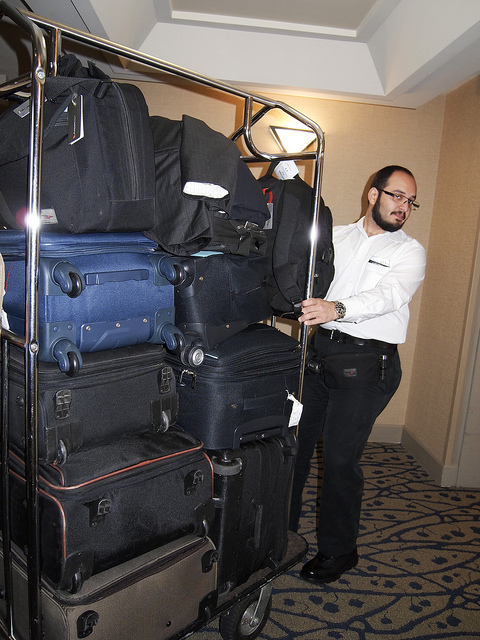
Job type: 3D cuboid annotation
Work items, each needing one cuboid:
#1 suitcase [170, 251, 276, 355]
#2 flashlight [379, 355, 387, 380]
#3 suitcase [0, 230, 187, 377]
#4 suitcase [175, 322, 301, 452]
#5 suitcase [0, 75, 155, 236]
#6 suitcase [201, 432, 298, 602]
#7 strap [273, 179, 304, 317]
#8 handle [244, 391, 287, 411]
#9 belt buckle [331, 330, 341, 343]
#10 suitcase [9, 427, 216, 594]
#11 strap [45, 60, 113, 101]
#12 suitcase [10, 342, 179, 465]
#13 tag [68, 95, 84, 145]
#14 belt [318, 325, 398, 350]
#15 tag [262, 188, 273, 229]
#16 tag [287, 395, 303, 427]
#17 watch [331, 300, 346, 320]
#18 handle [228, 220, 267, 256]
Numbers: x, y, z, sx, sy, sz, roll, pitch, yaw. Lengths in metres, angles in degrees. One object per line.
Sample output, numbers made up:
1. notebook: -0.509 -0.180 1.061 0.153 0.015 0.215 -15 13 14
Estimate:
1. suitcase: -0.027 -0.075 1.749 0.378 0.275 0.254 -10 14 -37
2. flashlight: 0.655 0.214 2.358 0.034 0.106 0.053 5 6 11
3. suitcase: -0.398 -0.066 1.430 0.307 0.478 0.357 6 3 38
4. suitcase: -0.026 0.225 1.889 0.482 0.343 0.352 -1 10 -44
5. suitcase: -0.409 -0.401 1.442 0.420 0.424 0.437 6 1 -39
6. suitcase: -0.036 0.652 1.856 0.379 0.499 0.357 -2 7 -45
7. strap: 0.192 -0.286 1.964 0.126 0.520 0.222 4 6 3
8. handle: 0.081 0.276 1.776 0.093 0.022 0.092 -2 0 -27
9. belt buckle: 0.451 0.073 2.408 0.016 0.058 0.056 3 1 -39
10. suitcase: -0.392 0.414 1.426 0.338 0.298 0.443 2 5 44
11. strap: -0.408 -0.576 1.270 0.165 0.072 0.200 -2 17 7
12. suitcase: -0.427 0.125 1.437 0.314 0.254 0.417 6 10 43
13. tag: -0.376 -0.461 1.182 0.031 0.105 0.043 2 7 -20
14. belt: 0.548 0.087 2.425 0.364 0.078 0.111 5 7 10
15. tag: 0.109 -0.433 1.980 0.039 0.164 0.117 4 6 0
16. tag: 0.203 0.336 1.939 0.073 0.113 0.028 -1 10 -24
17. watch: 0.395 -0.042 2.065 0.024 0.067 0.051 -24 38 -30
18. handle: 0.042 -0.268 1.736 0.126 0.099 0.045 16 -39 -33
